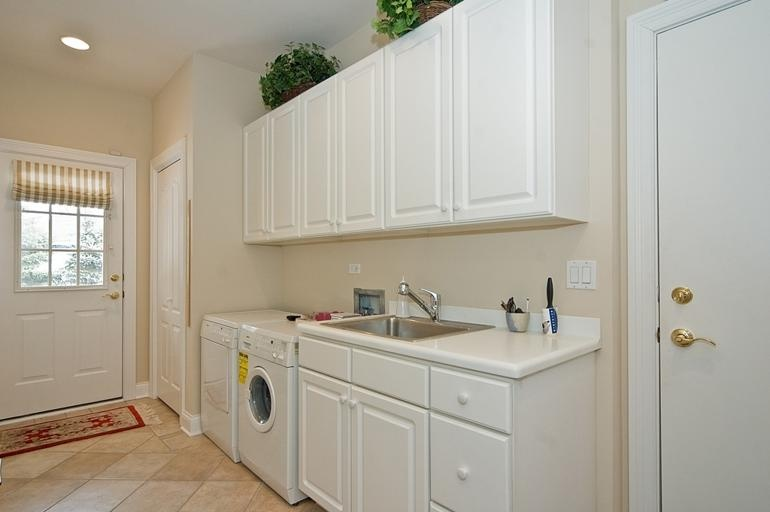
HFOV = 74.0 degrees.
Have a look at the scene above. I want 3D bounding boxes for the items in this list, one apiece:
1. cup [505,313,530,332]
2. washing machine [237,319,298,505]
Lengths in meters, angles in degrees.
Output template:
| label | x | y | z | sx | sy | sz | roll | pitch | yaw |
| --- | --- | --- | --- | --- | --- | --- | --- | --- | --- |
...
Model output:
| label | x | y | z | sx | sy | sz | roll | pitch | yaw |
| --- | --- | --- | --- | --- | --- | --- | --- | --- | --- |
| cup | 0.801 | 0.402 | 3.107 | 0.118 | 0.093 | 0.110 | 2 | -9 | 0 |
| washing machine | -0.807 | 1.031 | 3.577 | 0.336 | 1.081 | 0.813 | -10 | 17 | -35 |
